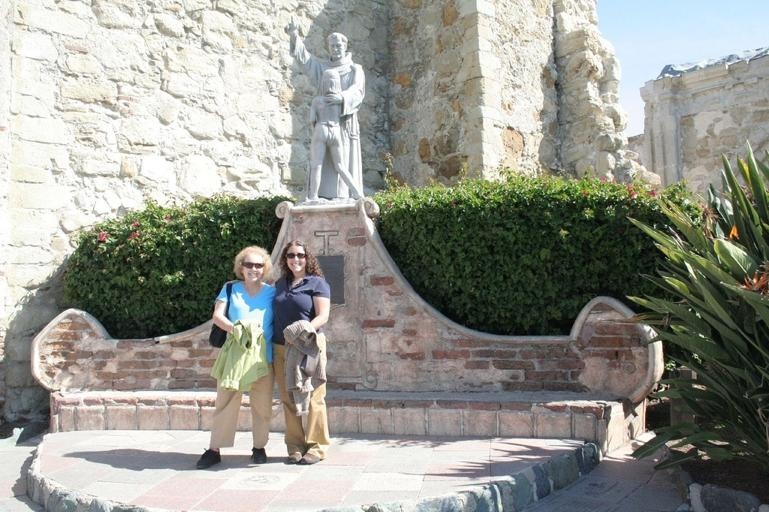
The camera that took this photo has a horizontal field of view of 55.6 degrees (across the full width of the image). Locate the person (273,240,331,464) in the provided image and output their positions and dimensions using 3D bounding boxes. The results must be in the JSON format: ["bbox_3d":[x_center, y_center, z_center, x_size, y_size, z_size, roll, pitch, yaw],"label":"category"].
[{"bbox_3d":[-0.900,1.060,7.952,0.620,2.359,0.700,-3,14,9],"label":"person"}]

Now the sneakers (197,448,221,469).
[{"bbox_3d":[-1.917,2.221,7.935,0.126,0.123,0.294,-2,-8,28],"label":"sneakers"}]

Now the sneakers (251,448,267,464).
[{"bbox_3d":[-1.372,2.190,7.961,0.188,0.177,0.113,0,-1,-3],"label":"sneakers"}]

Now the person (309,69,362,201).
[{"bbox_3d":[-0.839,-1.789,10.688,0.727,1.848,0.611,-7,14,-5],"label":"person"}]
